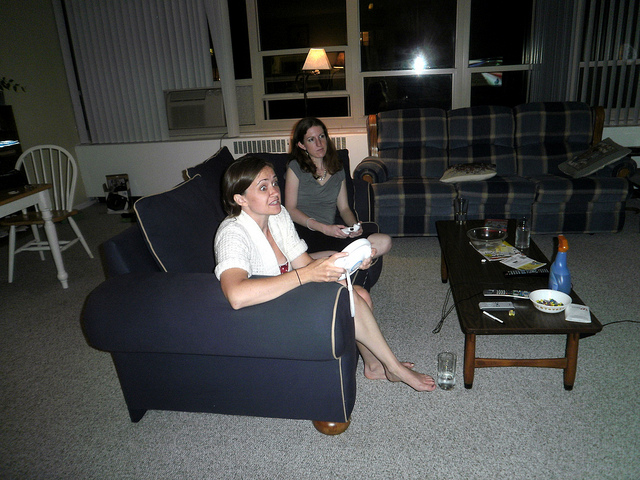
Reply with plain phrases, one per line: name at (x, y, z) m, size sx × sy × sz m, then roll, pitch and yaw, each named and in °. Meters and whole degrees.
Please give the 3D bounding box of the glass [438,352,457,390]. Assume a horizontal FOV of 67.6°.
glass at (0.724, 0.705, 2.716) m, size 0.103 × 0.182 × 0.215 m, roll 3°, pitch 22°, yaw 17°

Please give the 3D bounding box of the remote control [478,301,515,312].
remote control at (0.974, 0.363, 2.635) m, size 0.132 × 0.024 × 0.075 m, roll 0°, pitch 15°, yaw 8°

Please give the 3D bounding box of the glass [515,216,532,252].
glass at (1.383, -0.064, 3.253) m, size 0.091 × 0.262 × 0.096 m, roll 5°, pitch 16°, yaw 20°

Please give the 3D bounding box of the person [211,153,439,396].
person at (-0.070, 0.116, 2.815) m, size 1.366 × 1.545 × 1.030 m, roll 2°, pitch 16°, yaw 10°

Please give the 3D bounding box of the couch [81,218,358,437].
couch at (-0.270, 0.065, 2.985) m, size 1.247 × 1.104 × 1.826 m, roll 4°, pitch 37°, yaw 17°

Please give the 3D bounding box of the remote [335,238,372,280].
remote at (0.161, 0.087, 2.279) m, size 0.210 × 0.066 × 0.123 m, roll -34°, pitch 63°, yaw -16°

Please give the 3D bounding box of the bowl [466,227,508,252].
bowl at (1.140, -0.013, 3.283) m, size 0.249 × 0.075 × 0.346 m, roll 3°, pitch 22°, yaw 19°

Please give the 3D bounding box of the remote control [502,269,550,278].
remote control at (1.241, 0.198, 2.885) m, size 0.269 × 0.019 × 0.083 m, roll -3°, pitch 21°, yaw 4°

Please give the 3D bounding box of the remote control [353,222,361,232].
remote control at (0.232, -0.080, 3.083) m, size 0.045 × 0.051 × 0.033 m, roll 2°, pitch 22°, yaw 15°

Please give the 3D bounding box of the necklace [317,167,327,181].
necklace at (0.018, -0.461, 3.354) m, size 0.023 × 0.061 × 0.059 m, roll 27°, pitch 26°, yaw -52°

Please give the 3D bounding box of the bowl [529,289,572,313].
bowl at (1.260, 0.331, 2.610) m, size 0.198 × 0.076 × 0.144 m, roll 0°, pitch 21°, yaw 11°

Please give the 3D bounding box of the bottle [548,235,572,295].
bottle at (1.347, 0.128, 2.660) m, size 0.119 × 0.324 × 0.214 m, roll 6°, pitch 23°, yaw 25°
